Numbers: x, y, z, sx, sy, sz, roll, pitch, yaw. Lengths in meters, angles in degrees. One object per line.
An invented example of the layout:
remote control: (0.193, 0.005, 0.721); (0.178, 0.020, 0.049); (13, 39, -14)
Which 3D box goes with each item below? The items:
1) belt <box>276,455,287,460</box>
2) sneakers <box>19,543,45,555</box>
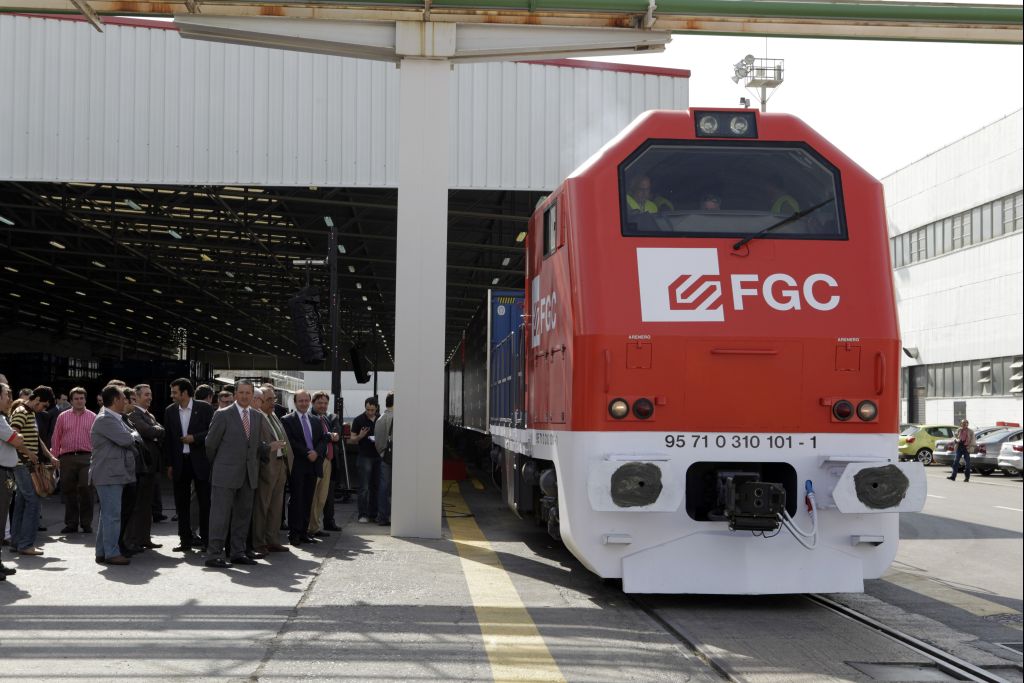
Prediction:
belt: (-3.566, 1.807, 15.244); (0.112, 0.067, 0.076); (1, -6, -34)
sneakers: (-7.280, 3.151, 14.899); (0.354, 0.270, 0.130); (1, 1, -8)
